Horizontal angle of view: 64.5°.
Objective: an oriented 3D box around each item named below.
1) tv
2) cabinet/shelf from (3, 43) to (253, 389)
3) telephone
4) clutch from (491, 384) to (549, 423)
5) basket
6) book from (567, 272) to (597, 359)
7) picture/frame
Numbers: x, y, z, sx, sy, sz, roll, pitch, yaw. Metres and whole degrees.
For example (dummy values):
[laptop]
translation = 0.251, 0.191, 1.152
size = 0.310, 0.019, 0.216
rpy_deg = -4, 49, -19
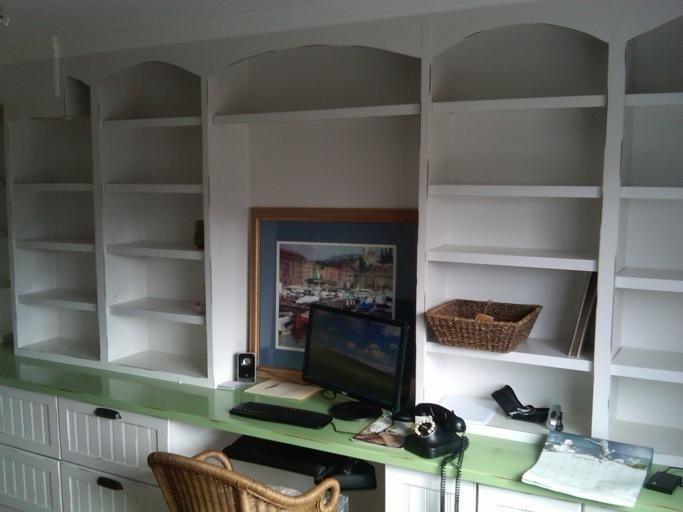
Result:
[tv]
translation = 0.067, 0.519, 2.583
size = 0.460, 0.394, 0.206
rpy_deg = 11, 3, 35
[cabinet/shelf]
translation = -1.193, -0.246, 3.080
size = 1.821, 2.213, 0.454
rpy_deg = 3, 5, 23
[telephone]
translation = 0.378, 0.724, 2.324
size = 0.247, 0.182, 0.309
rpy_deg = -2, -1, -14
[clutch]
translation = 0.808, 0.684, 2.464
size = 0.186, 0.079, 0.137
rpy_deg = 17, 17, 35
[basket]
translation = 0.601, 0.303, 2.365
size = 0.327, 0.117, 0.292
rpy_deg = 2, 3, 29
[book]
translation = 1.038, 0.253, 2.336
size = 0.046, 0.282, 0.327
rpy_deg = 12, 11, 20
[picture/frame]
translation = -0.022, 0.185, 2.790
size = 0.919, 0.918, 0.050
rpy_deg = 3, 3, 20
